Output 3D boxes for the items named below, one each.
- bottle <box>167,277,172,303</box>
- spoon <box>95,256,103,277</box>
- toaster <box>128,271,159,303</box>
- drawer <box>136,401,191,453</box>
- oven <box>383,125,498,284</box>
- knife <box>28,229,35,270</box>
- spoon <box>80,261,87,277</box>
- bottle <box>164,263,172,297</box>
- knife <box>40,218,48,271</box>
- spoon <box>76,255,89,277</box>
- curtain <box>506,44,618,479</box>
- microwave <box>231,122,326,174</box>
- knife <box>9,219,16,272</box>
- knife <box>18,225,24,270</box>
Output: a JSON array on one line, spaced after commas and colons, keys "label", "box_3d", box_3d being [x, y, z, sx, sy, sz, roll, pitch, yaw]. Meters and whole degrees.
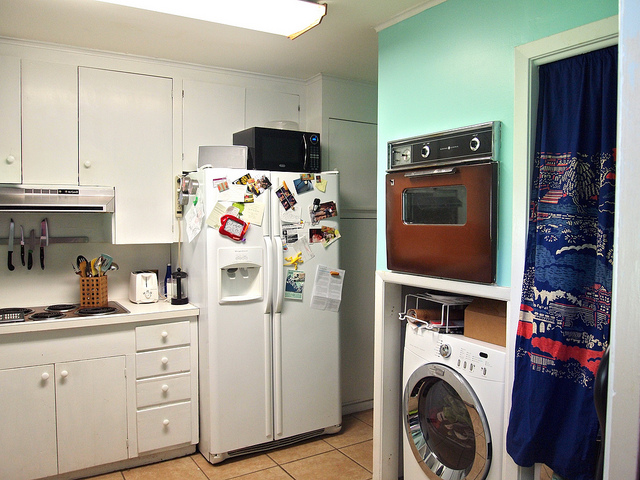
[{"label": "bottle", "box_3d": [-1.146, 0.373, 3.713, 0.033, 0.184, 0.182, -1, 5, -19]}, {"label": "spoon", "box_3d": [-1.613, 0.189, 3.574, 0.044, 0.153, 0.052, 8, -8, -30]}, {"label": "toaster", "box_3d": [-1.338, 0.353, 3.750, 0.177, 0.241, 0.260, -2, 5, -18]}, {"label": "drawer", "box_3d": [-1.085, 1.292, 3.383, 0.267, 0.230, 0.294, 1, -4, -31]}, {"label": "oven", "box_3d": [0.778, -0.203, 2.796, 0.531, 0.791, 0.747, -1, 3, -45]}, {"label": "knife", "box_3d": [-2.070, 0.067, 3.487, 0.042, 0.290, 0.078, 0, 5, -13]}, {"label": "spoon", "box_3d": [-1.714, 0.208, 3.539, 0.052, 0.105, 0.029, 4, 6, 33]}, {"label": "bottle", "box_3d": [-1.191, 0.314, 3.821, 0.058, 0.248, 0.137, -1, 5, -18]}, {"label": "knife", "box_3d": [-1.990, 0.028, 3.507, 0.048, 0.368, 0.018, -1, 6, -22]}, {"label": "spoon", "box_3d": [-1.725, 0.164, 3.558, 0.051, 0.190, 0.024, -1, 2, 2]}, {"label": "curtain", "box_3d": [1.077, 0.105, 2.170, 0.390, 1.867, 0.222, 4, 6, 35]}, {"label": "microwave", "box_3d": [-0.297, -0.682, 3.853, 0.538, 0.339, 0.406, -2, 6, -18]}, {"label": "knife", "box_3d": [-2.165, 0.026, 3.434, 0.035, 0.348, 0.096, -1, 5, -23]}, {"label": "knife", "box_3d": [-2.118, 0.079, 3.465, 0.040, 0.418, 0.020, -2, -2, 5]}]
